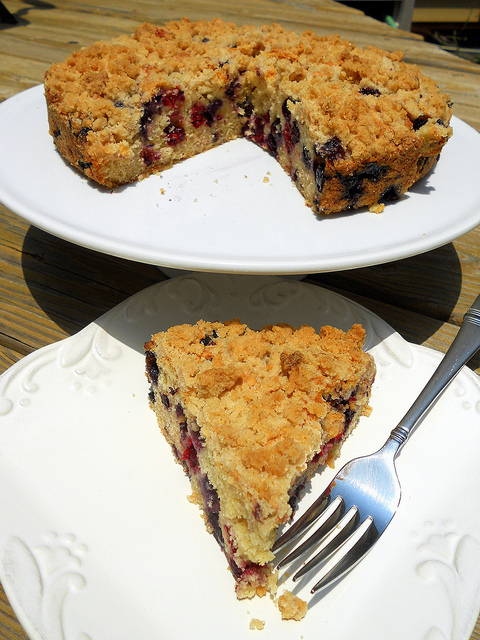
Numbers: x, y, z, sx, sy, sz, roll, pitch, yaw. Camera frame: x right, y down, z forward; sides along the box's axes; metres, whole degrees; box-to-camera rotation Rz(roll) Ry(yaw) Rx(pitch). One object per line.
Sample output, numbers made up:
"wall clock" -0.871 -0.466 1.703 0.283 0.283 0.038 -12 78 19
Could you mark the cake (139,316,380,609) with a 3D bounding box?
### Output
"cake" 0.034 0.203 1.186 0.475 0.159 0.474 6 43 -1
